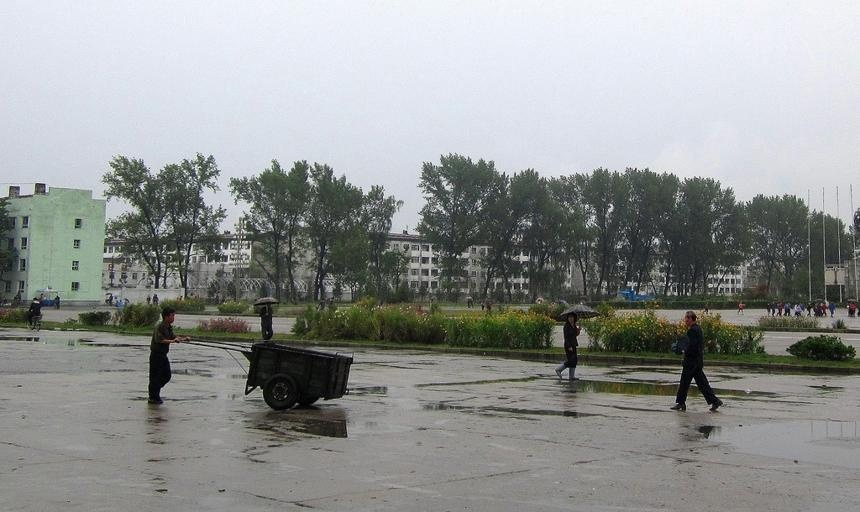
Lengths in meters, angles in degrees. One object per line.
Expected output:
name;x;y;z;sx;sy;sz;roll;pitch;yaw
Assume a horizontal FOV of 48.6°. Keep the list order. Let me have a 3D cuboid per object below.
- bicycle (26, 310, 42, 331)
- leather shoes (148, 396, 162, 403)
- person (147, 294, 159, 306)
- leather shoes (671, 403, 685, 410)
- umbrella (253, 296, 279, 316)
bicycle;-22.334;3.692;54.186;0.944;1.079;1.701;5;-5;-42
leather shoes;-7.649;3.974;26.458;0.359;0.156;0.143;-3;-5;16
person;-25.907;3.986;88.821;0.502;1.772;0.741;-6;-5;36
leather shoes;6.982;4.199;26.739;0.442;0.243;0.166;4;-4;16
umbrella;-9.975;3.038;57.771;1.672;0.951;1.673;-8;-11;28
